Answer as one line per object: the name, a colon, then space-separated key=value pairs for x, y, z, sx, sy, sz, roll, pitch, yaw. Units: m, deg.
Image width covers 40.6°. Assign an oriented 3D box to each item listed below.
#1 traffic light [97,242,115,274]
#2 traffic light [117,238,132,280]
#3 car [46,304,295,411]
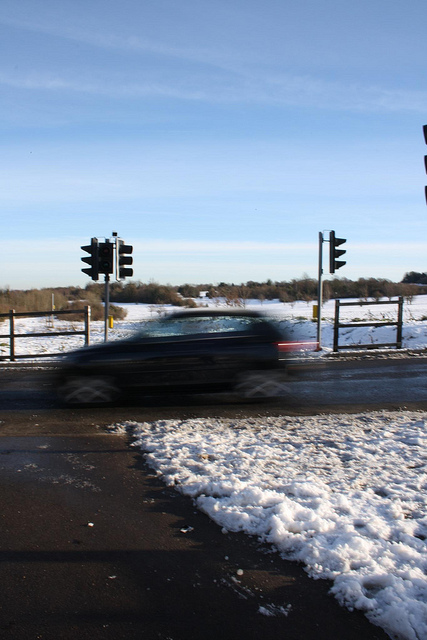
traffic light: x=-2.860 y=-1.639 z=15.185 sx=0.493 sy=0.818 sz=0.171 roll=-2 pitch=6 yaw=9
traffic light: x=-2.376 y=-1.650 z=15.355 sx=0.389 sy=1.093 sz=0.630 roll=-4 pitch=6 yaw=-14
car: x=-0.555 y=0.542 z=8.281 sx=3.031 sy=1.172 sz=1.445 roll=2 pitch=-8 yaw=-1
